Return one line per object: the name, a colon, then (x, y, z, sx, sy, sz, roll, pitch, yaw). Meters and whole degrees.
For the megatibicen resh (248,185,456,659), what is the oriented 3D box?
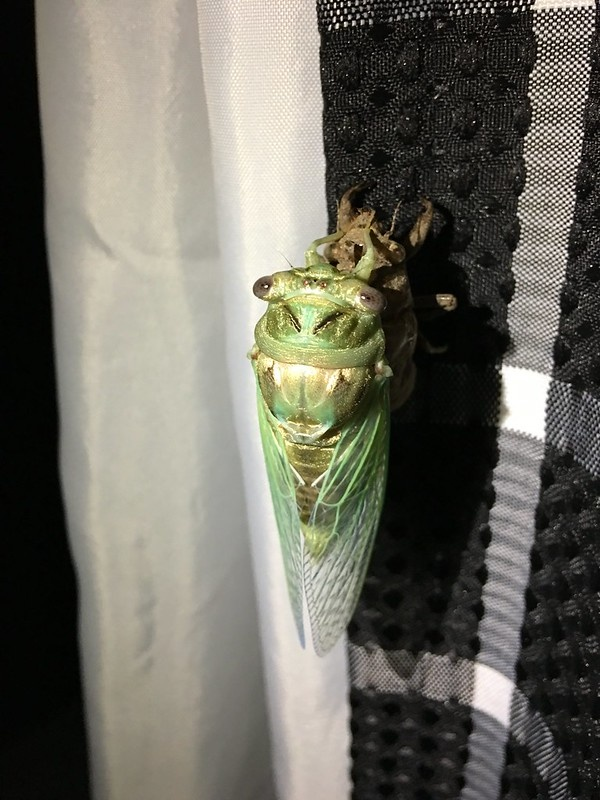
megatibicen resh: (0.043, 0.035, 0.855, 0.183, 0.446, 0.150, 6, 28, 9)
